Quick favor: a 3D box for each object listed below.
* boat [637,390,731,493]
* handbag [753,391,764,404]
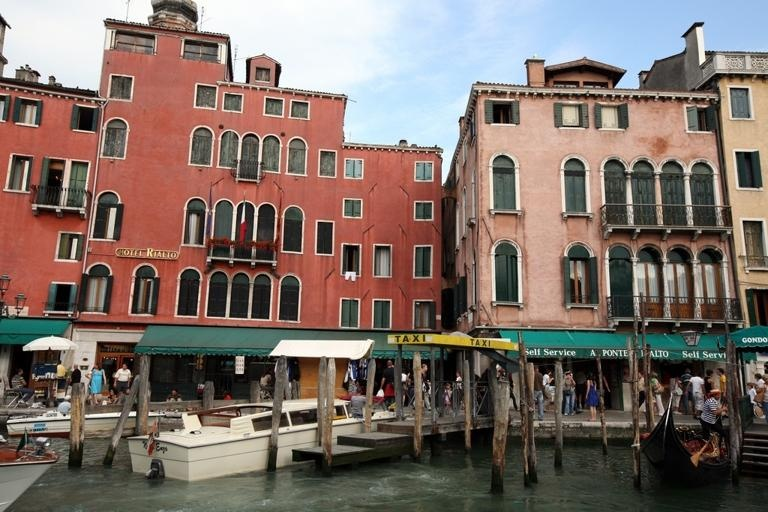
[{"bbox_3d":[12.038,7.885,25.265,2.887,2.309,6.027,16,-2,40],"label":"boat"},{"bbox_3d":[16.952,6.327,28.270,0.343,0.685,0.636,5,9,31],"label":"handbag"}]
